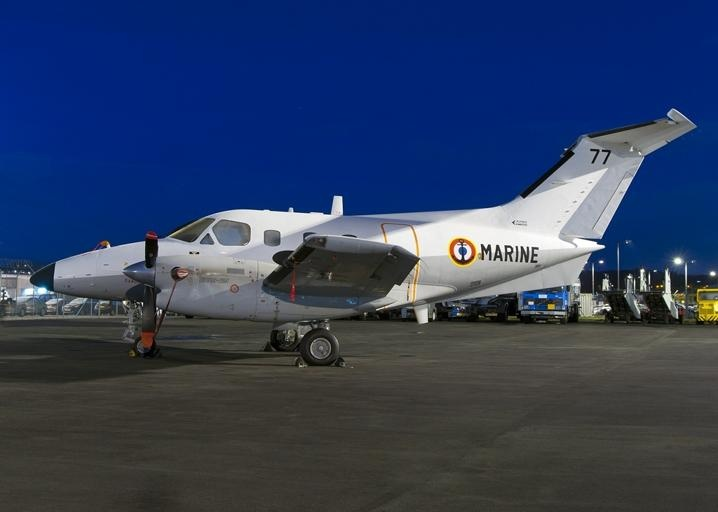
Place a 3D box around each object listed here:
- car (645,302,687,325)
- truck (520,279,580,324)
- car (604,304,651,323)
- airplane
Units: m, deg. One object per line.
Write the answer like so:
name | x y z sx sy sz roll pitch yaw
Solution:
car | 18.642 3.353 38.079 1.479 1.072 2.312 1 0 41
truck | 11.359 2.398 36.581 2.811 2.043 4.905 0 -2 24
car | 16.934 3.572 39.128 2.530 0.849 1.327 -1 -2 4
airplane | 0.505 -0.022 13.200 8.899 2.525 8.162 1 -4 -8
